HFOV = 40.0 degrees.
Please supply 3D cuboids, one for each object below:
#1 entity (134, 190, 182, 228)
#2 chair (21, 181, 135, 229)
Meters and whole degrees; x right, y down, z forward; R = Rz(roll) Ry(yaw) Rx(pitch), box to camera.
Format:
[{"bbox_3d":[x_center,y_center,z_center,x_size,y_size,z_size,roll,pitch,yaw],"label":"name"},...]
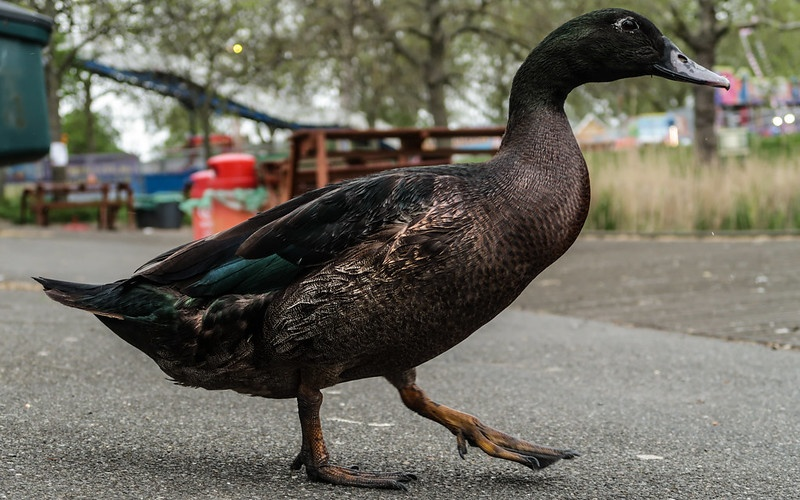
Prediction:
[{"bbox_3d":[-5.389,-0.869,24.344,1.085,0.726,1.166,0,-3,-13],"label":"entity"},{"bbox_3d":[-1.938,-0.321,6.524,0.587,0.180,0.344,-3,-1,3],"label":"chair"}]
